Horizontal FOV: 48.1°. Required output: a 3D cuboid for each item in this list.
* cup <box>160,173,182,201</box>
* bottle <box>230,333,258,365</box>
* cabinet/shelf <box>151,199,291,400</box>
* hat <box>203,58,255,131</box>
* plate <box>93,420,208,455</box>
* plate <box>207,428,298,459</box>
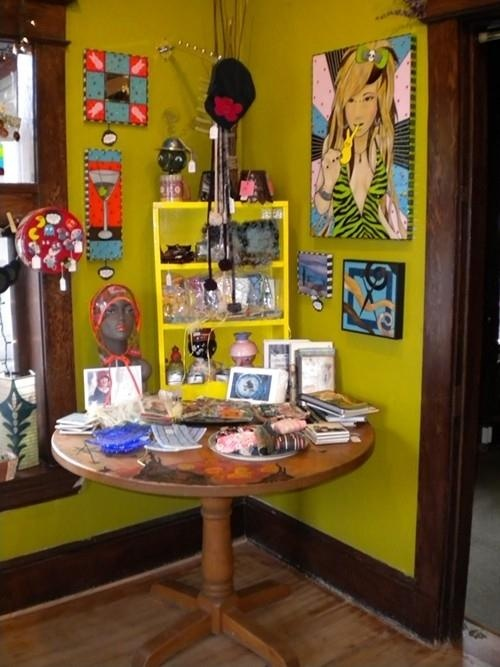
[{"bbox_3d":[-0.295,-0.550,2.102,0.087,0.109,0.087,1,2,0],"label":"cup"},{"bbox_3d":[-0.026,0.054,2.174,0.104,0.133,0.115,0,3,-5],"label":"bottle"},{"bbox_3d":[-0.115,-0.160,2.308,0.626,0.768,0.445,-1,7,-24],"label":"cabinet/shelf"},{"bbox_3d":[-0.068,-0.801,1.859,0.155,0.244,0.078,-1,13,-20],"label":"hat"},{"bbox_3d":[-0.294,0.299,1.646,0.344,0.049,0.215,1,7,-11],"label":"plate"},{"bbox_3d":[-0.008,0.309,1.548,0.270,0.055,0.116,5,8,23],"label":"plate"}]
